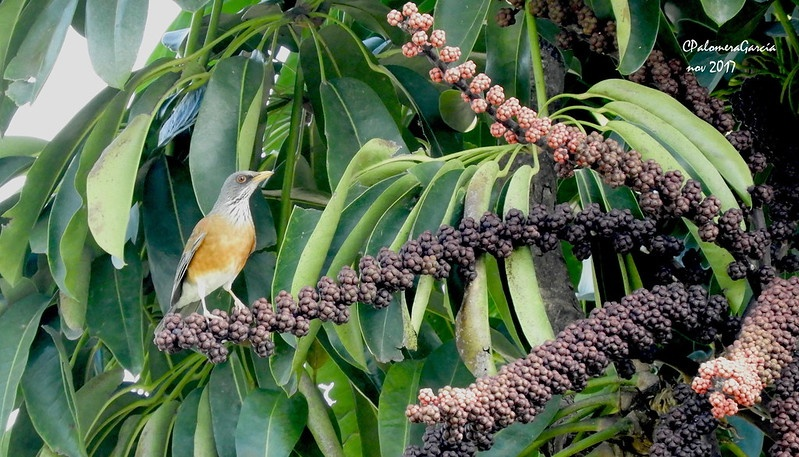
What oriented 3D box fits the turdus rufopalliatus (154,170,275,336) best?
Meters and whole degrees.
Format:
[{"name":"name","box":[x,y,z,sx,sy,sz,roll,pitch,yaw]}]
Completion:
[{"name":"turdus rufopalliatus","box":[-0.793,0.080,4.022,0.600,0.629,0.287,-2,2,29]}]
